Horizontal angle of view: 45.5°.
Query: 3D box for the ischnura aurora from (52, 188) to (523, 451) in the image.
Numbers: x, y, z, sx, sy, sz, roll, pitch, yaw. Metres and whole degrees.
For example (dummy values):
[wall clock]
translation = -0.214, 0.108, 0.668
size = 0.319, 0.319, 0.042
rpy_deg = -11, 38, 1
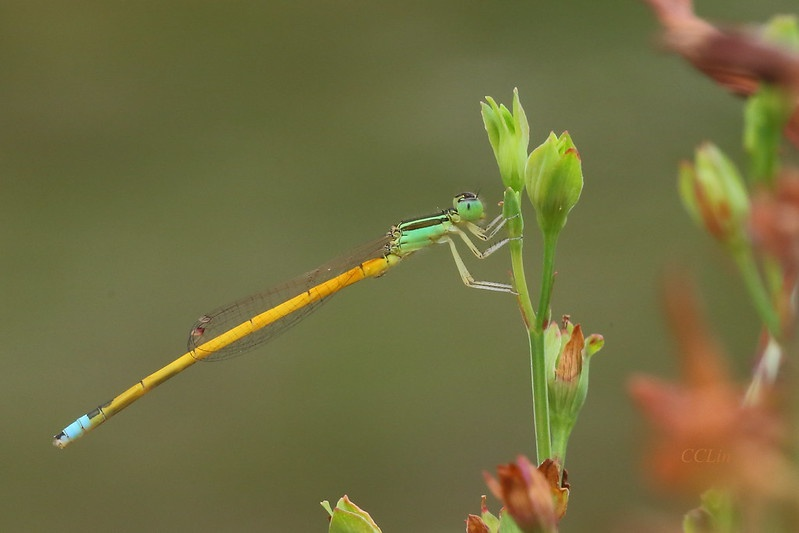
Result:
[ischnura aurora]
translation = -0.498, 0.127, 3.811
size = 1.802, 0.319, 0.849
rpy_deg = -29, -24, 7
